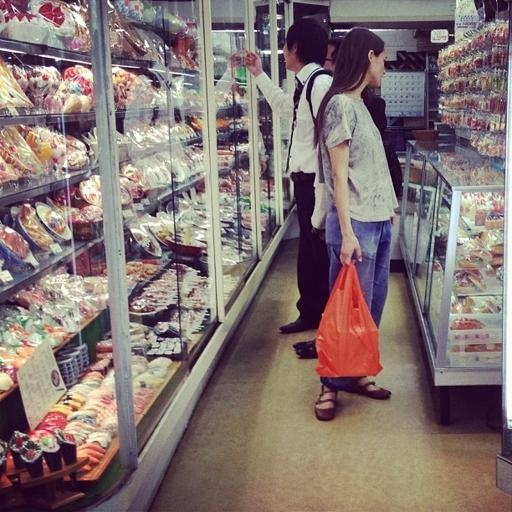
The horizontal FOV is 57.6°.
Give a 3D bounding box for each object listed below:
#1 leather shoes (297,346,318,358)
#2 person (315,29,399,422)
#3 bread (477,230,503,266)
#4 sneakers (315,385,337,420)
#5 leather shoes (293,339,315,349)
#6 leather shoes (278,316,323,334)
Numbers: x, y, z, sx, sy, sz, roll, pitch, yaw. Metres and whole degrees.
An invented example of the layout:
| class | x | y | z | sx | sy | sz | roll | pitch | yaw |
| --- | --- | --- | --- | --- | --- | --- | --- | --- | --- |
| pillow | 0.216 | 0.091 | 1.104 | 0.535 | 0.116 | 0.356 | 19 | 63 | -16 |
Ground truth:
| class | x | y | z | sx | sy | sz | roll | pitch | yaw |
| --- | --- | --- | --- | --- | --- | --- | --- | --- | --- |
| leather shoes | 0.328 | 0.609 | 2.967 | 0.148 | 0.069 | 0.056 | 3 | 5 | 4 |
| person | 0.471 | -0.302 | 2.107 | 0.387 | 1.392 | 0.326 | -2 | 9 | 0 |
| bread | 1.064 | -0.046 | 2.099 | 0.049 | 0.161 | 0.111 | -17 | 2 | -39 |
| sneakers | 0.345 | 0.719 | 2.329 | 0.089 | 0.104 | 0.278 | -1 | 9 | 12 |
| leather shoes | 0.313 | 0.573 | 3.049 | 0.155 | 0.067 | 0.061 | -2 | 7 | 3 |
| leather shoes | 0.318 | 0.511 | 3.445 | 0.330 | 0.153 | 0.117 | -4 | 6 | -11 |
